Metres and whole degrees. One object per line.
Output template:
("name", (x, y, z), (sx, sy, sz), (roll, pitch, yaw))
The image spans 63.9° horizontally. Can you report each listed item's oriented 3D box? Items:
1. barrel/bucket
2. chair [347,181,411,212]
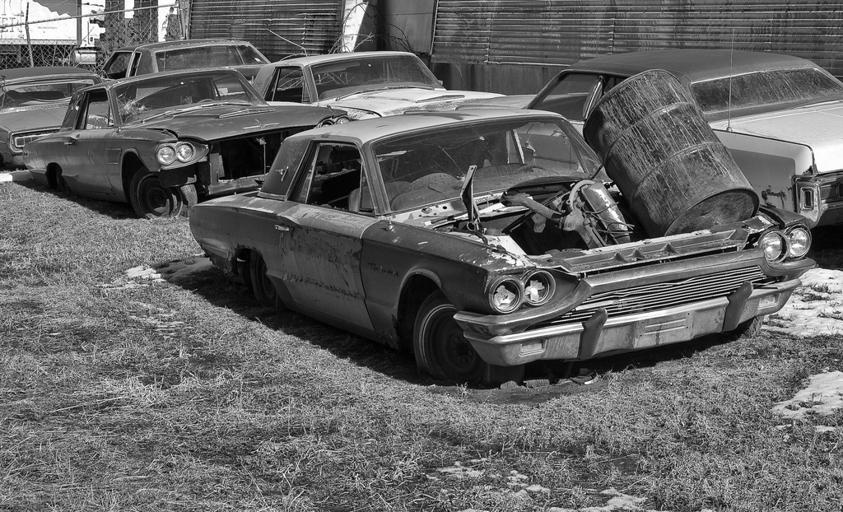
("barrel/bucket", (2.079, -0.858, 5.636), (0.657, 1.317, 1.188), (-12, 20, -40))
("chair", (-0.384, -0.479, 5.618), (0.335, 0.145, 0.348), (3, 10, 34))
